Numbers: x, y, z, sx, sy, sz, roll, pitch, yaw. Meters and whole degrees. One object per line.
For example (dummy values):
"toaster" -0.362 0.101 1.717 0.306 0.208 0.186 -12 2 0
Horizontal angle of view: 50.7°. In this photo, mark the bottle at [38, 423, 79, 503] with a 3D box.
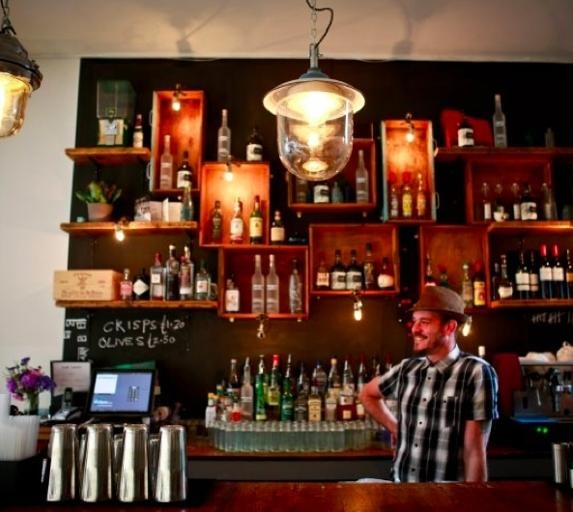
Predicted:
"bottle" -0.829 0.737 2.178 0.153 0.269 0.093 -3 -10 33

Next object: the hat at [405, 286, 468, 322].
"hat" 0.815 0.210 3.158 0.227 0.092 0.186 26 -23 -28

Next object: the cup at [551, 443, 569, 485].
"cup" 1.095 0.822 2.412 0.056 0.156 0.077 -2 -9 25

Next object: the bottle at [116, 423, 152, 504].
"bottle" -0.545 0.738 2.176 0.113 0.266 0.083 4 -9 -17

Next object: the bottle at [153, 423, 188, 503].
"bottle" -0.413 0.746 2.172 0.110 0.263 0.059 4 -8 -11

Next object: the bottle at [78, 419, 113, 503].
"bottle" -0.679 0.736 2.171 0.119 0.264 0.082 4 -9 -17

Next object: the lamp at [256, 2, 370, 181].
"lamp" 0.124 -0.685 2.764 0.453 0.643 0.281 2 -8 -2

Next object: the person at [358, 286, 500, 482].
"person" 0.750 0.635 3.080 0.401 0.979 0.839 5 -9 -23
